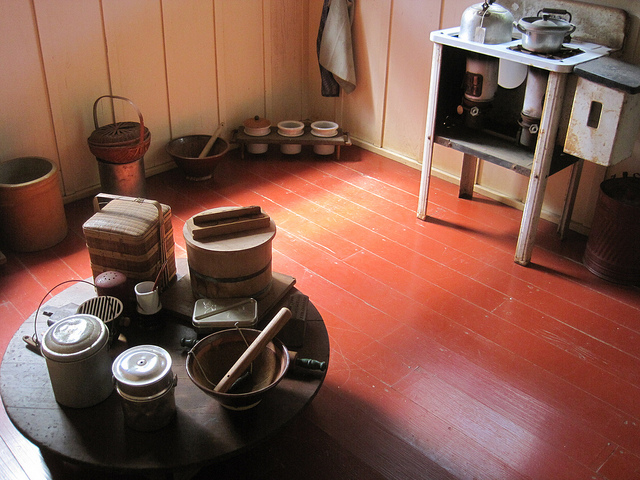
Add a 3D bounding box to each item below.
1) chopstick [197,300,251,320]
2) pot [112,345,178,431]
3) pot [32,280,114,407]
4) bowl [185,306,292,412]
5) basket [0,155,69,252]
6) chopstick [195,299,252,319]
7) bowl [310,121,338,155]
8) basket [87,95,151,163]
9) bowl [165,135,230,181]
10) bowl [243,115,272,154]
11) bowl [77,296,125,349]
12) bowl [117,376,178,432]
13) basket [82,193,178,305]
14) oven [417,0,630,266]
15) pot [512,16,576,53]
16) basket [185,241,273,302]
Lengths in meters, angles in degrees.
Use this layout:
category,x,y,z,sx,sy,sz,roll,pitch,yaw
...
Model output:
category,x,y,z,sx,sy,sz,roll,pitch,yaw
chopstick,-0.423,0.300,2.209,0.242,0.009,0.013,-17,34,-24
pot,-0.595,0.520,1.895,0.268,0.278,0.265,0,34,0
pot,-0.947,0.395,1.932,0.270,0.435,0.252,3,25,-1
bowl,-0.316,0.475,1.945,0.383,0.276,0.333,0,31,2
basket,-1.955,-0.239,3.394,0.388,0.527,0.482,7,33,3
chopstick,-0.427,0.301,2.210,0.239,0.018,0.027,-12,76,-21
bowl,0.040,-0.967,4.728,0.252,0.249,0.281,0,31,3
basket,-1.534,-0.820,3.751,0.453,0.484,0.460,-13,21,-43
bowl,-1.034,-0.687,4.305,0.518,0.295,0.537,5,30,-3
bowl,-0.552,-0.982,4.716,0.290,0.351,0.313,2,36,-2
bowl,-0.957,0.326,2.203,0.212,0.078,0.178,5,49,-37
bowl,-0.649,0.590,1.916,0.229,0.188,0.216,-2,10,0
basket,-0.952,0.006,2.496,0.492,0.390,0.439,14,34,24
oven,1.296,-0.788,3.475,1.046,1.536,0.761,23,38,35
pot,1.353,-1.258,3.044,0.362,0.206,0.287,2,33,5
basket,-0.396,0.158,2.410,0.294,0.236,0.311,4,27,11
